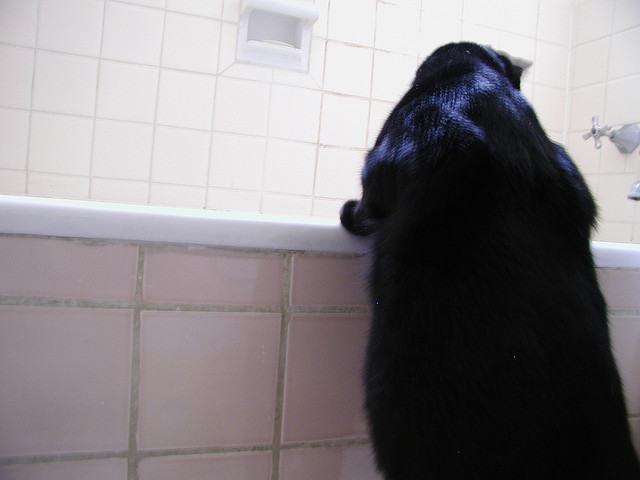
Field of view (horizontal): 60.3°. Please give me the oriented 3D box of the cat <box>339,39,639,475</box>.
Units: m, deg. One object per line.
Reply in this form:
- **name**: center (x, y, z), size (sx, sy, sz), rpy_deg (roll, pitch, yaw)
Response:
- **cat**: center (0.238, 0.061, 0.867), size (0.274, 0.719, 0.348), rpy_deg (-4, -7, 14)

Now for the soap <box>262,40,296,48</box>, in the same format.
- **soap**: center (-0.144, -0.680, 1.905), size (0.113, 0.018, 0.023), rpy_deg (6, 6, -13)
